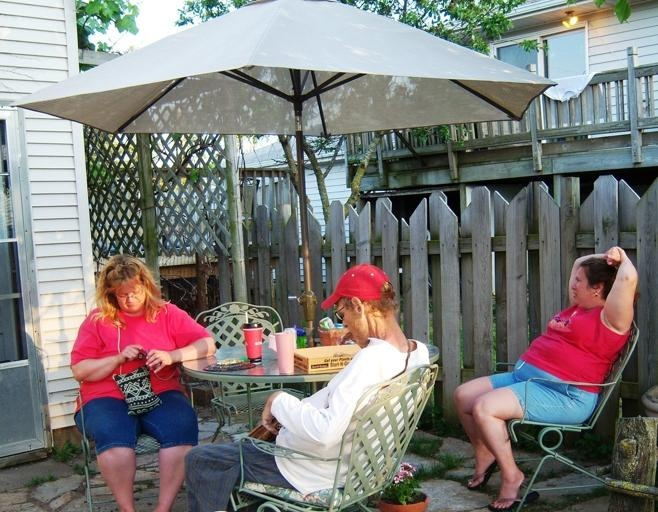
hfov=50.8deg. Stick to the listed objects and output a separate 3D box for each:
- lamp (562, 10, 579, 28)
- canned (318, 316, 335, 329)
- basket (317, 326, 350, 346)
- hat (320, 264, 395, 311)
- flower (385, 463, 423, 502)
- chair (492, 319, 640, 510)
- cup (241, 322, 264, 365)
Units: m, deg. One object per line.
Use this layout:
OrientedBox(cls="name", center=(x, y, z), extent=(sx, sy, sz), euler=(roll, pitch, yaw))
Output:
OrientedBox(cls="lamp", center=(4.208, -4.133, 12.010), extent=(0.196, 0.324, 0.312), euler=(1, -33, 5))
OrientedBox(cls="canned", center=(-0.021, 0.457, 4.570), extent=(0.091, 0.095, 0.075), euler=(-13, -7, 33))
OrientedBox(cls="basket", center=(0.030, 0.528, 4.625), extent=(0.142, 0.151, 0.121), euler=(-4, 2, 1))
OrientedBox(cls="hat", center=(0.157, 0.170, 3.791), extent=(0.266, 0.189, 0.202), euler=(-4, 0, 16))
OrientedBox(cls="flower", center=(0.459, 1.348, 4.278), extent=(0.180, 0.211, 0.305), euler=(3, 9, 1))
OrientedBox(cls="chair", center=(1.637, 1.045, 4.958), extent=(0.996, 1.599, 1.115), euler=(1, -5, 5))
OrientedBox(cls="cup", center=(-0.477, 0.555, 4.479), extent=(0.167, 0.310, 0.189), euler=(-1, -5, -4))
